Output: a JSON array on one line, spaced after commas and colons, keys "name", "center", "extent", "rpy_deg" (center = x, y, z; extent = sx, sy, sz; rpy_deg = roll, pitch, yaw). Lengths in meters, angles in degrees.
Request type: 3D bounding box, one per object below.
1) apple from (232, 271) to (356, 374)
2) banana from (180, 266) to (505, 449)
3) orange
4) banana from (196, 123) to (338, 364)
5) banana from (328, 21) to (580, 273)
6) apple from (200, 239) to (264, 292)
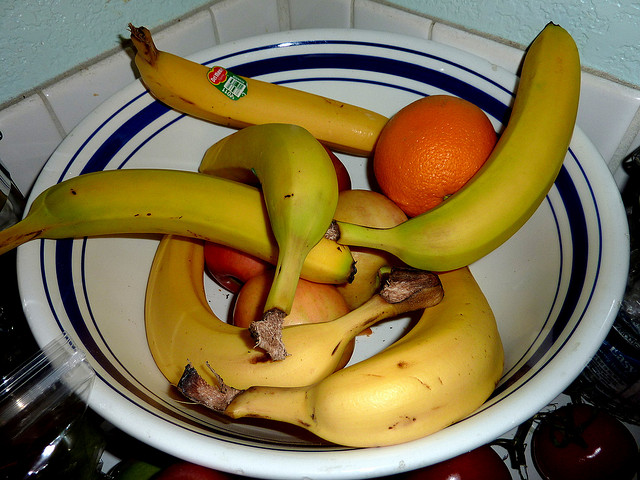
[{"name": "apple", "center": [-0.038, 0.099, 0.970], "extent": [0.163, 0.151, 0.102], "rpy_deg": [11, 34, 14]}, {"name": "banana", "center": [0.086, 0.198, 0.789], "extent": [0.278, 0.077, 0.243], "rpy_deg": [-18, 46, -7]}, {"name": "orange", "center": [0.168, -0.145, 0.961], "extent": [0.150, 0.180, 0.189], "rpy_deg": [8, 95, -4]}, {"name": "banana", "center": [-0.046, -0.019, 0.827], "extent": [0.171, 0.101, 0.423], "rpy_deg": [-6, 45, -18]}, {"name": "banana", "center": [0.243, -0.106, 0.864], "extent": [0.490, 0.062, 0.179], "rpy_deg": [-42, 80, -10]}, {"name": "apple", "center": [-0.169, 0.048, 1.037], "extent": [0.102, 0.109, 0.083], "rpy_deg": [6, 91, -21]}]
